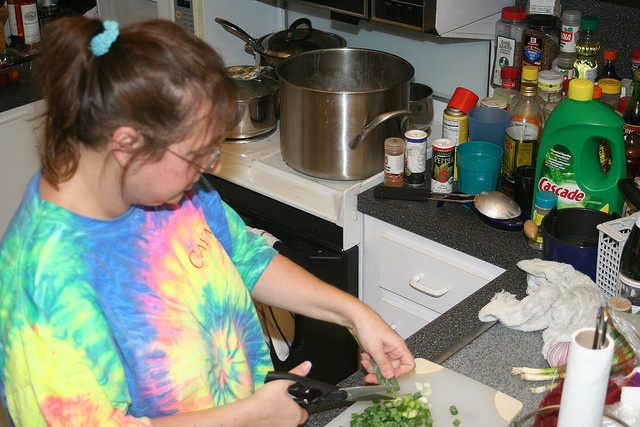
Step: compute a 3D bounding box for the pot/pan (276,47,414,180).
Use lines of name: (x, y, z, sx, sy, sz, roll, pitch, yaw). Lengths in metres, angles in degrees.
pot/pan: (0.055, -0.430, 1.963, 0.579, 0.377, 0.464, 28, 42, 36)

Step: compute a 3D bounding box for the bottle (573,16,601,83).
bottle: (0.925, -0.576, 1.750, 0.087, 0.206, 0.237, 11, 29, 26)

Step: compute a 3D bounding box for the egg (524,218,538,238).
egg: (0.602, 0.044, 1.449, 0.035, 0.050, 0.015, -10, -5, 35)

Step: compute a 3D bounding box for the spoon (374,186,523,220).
spoon: (0.348, -0.045, 1.731, 0.618, 0.070, 0.145, 3, 60, 34)

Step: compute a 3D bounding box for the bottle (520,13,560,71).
bottle: (0.812, -0.639, 1.853, 0.154, 0.183, 0.134, -2, 26, -1)

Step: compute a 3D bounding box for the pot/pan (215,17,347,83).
pot/pan: (-0.128, -0.806, 2.259, 0.506, 0.280, 0.506, 21, 34, 38)

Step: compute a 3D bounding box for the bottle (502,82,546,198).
bottle: (0.652, -0.250, 1.671, 0.092, 0.393, 0.149, -8, 11, -35)

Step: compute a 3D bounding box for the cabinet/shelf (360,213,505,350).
cabinet/shelf: (0.391, 0.257, 1.906, 0.317, 0.208, 0.307, 39, 10, 1)

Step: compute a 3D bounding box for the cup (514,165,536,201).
cup: (0.655, -0.099, 1.631, 0.059, 0.101, 0.073, 8, 27, 20)

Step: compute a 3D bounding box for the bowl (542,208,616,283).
bowl: (0.671, 0.072, 1.341, 0.170, 0.152, 0.146, 10, 28, 24)
